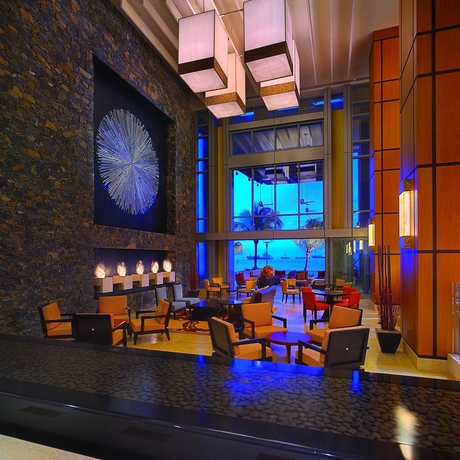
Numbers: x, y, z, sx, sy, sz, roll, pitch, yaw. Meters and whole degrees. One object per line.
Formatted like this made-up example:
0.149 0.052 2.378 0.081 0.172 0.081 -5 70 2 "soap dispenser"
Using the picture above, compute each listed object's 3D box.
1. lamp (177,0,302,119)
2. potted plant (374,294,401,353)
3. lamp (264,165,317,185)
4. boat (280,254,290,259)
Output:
0.390 -3.227 7.437 2.122 1.695 2.342 -8 -19 25 "lamp"
2.719 1.545 6.252 0.392 0.997 0.755 -1 -4 26 "potted plant"
2.437 -2.207 14.520 2.193 0.759 0.346 -2 -4 28 "lamp"
4.889 2.316 32.135 0.717 0.357 0.508 1 -4 2 "boat"
